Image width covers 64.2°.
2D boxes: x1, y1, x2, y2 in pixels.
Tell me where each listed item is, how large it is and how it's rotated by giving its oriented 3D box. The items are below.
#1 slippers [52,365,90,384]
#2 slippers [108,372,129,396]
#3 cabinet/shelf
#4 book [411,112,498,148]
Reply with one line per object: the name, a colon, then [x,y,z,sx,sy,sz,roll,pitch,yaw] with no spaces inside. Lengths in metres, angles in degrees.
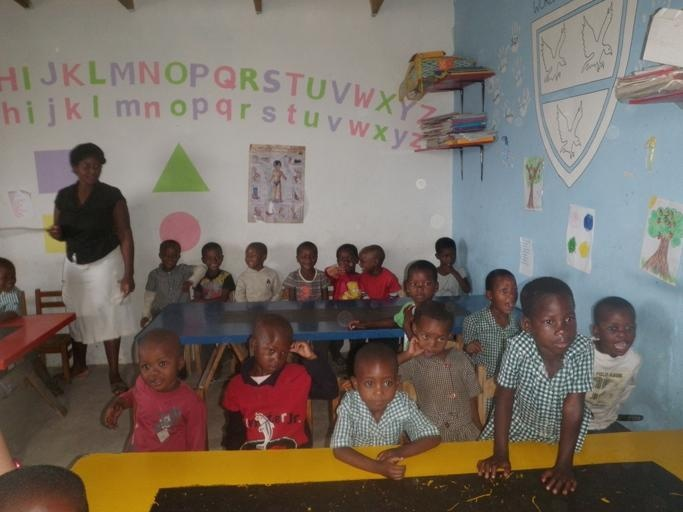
slippers: [-2.027,0.889,4.076,0.237,0.063,0.108,2,6,-25]
slippers: [-1.592,0.913,3.864,0.088,0.162,0.239,-2,-6,-21]
cabinet/shelf: [0.870,-1.020,4.158,0.305,0.668,0.697,-4,11,-12]
book: [0.846,-0.927,4.075,0.261,0.254,0.666,-10,16,-35]
